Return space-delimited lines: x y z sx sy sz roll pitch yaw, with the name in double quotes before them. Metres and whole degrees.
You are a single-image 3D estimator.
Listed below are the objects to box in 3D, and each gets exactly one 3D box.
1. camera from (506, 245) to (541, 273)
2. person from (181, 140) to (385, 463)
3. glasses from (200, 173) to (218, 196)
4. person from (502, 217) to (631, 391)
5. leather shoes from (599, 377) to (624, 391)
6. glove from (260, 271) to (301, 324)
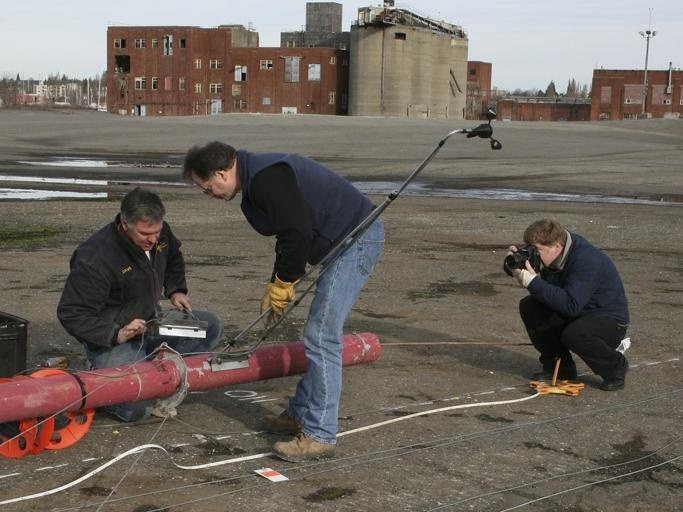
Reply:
"camera" 1.534 0.013 7.949 0.263 0.164 0.309 -4 3 -35
"person" -0.376 0.329 6.670 1.314 2.297 0.640 2 9 0
"glasses" -0.898 -0.514 6.484 0.051 0.123 0.140 -12 7 -27
"person" 2.039 0.410 8.287 1.338 1.280 1.041 7 9 13
"leather shoes" 2.357 1.133 8.024 0.210 0.149 0.095 0 -1 -1
"glove" -0.494 0.284 6.557 0.152 0.351 0.247 24 -9 24
